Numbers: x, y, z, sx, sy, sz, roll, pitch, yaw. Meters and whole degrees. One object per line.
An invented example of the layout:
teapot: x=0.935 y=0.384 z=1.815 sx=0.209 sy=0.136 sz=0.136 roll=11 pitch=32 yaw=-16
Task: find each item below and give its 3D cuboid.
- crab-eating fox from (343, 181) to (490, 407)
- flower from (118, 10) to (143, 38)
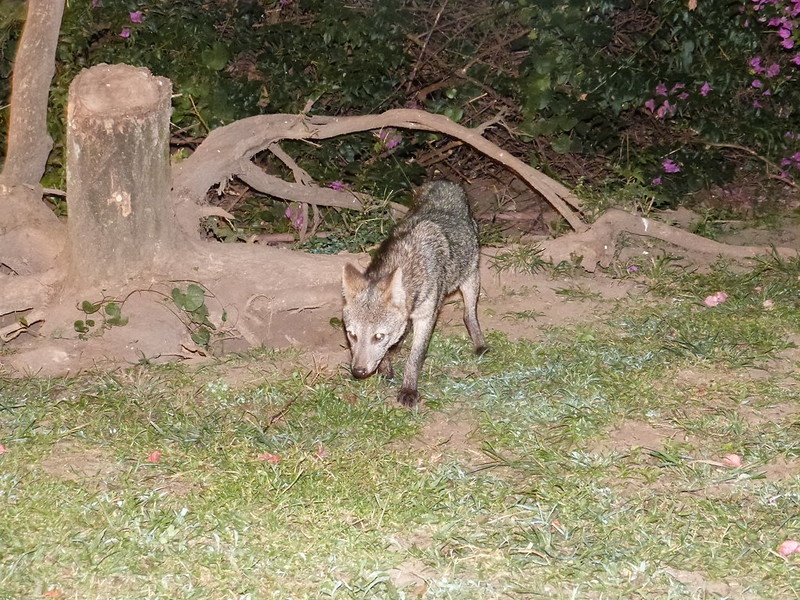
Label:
crab-eating fox: x=0.161 y=0.019 z=7.675 sx=1.400 sy=1.586 sz=2.533 roll=12 pitch=37 yaw=6
flower: x=-2.912 y=-2.961 z=9.337 sx=0.195 sy=0.323 sz=0.083 roll=31 pitch=33 yaw=-29
